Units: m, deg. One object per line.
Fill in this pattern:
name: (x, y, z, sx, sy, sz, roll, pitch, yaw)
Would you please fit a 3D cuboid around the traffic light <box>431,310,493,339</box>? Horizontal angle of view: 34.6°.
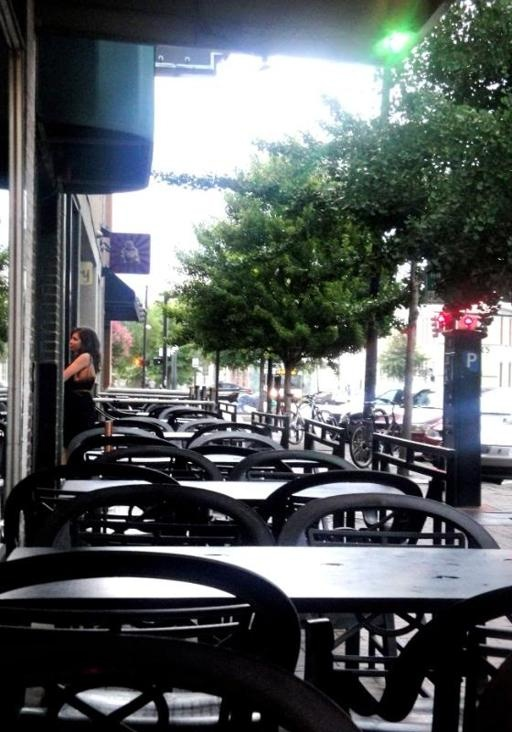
traffic light: (3.271, -0.687, 13.047, 0.912, 0.390, 0.910, 2, 3, 23)
